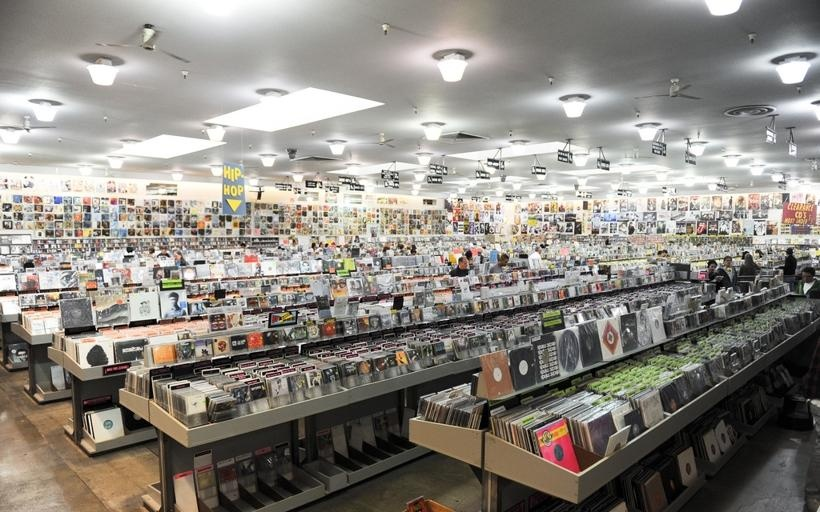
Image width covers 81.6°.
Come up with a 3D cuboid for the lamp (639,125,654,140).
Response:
[{"bbox_3d":[5.097,-2.652,10.163,0.331,0.213,0.314,-6,12,-22],"label":"lamp"}]

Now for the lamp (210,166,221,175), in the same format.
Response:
[{"bbox_3d":[-6.627,-2.920,16.329,0.411,0.251,0.413,3,3,44],"label":"lamp"}]

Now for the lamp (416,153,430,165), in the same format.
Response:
[{"bbox_3d":[0.399,-2.752,13.528,0.358,0.210,0.336,-4,10,-14],"label":"lamp"}]

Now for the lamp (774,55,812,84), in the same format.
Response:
[{"bbox_3d":[5.538,-2.627,6.878,0.397,0.248,0.406,0,0,18],"label":"lamp"}]

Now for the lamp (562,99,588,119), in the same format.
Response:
[{"bbox_3d":[2.983,-2.646,8.585,0.438,0.333,0.483,0,5,13],"label":"lamp"}]

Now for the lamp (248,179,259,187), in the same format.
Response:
[{"bbox_3d":[-6.483,-3.027,19.706,0.467,0.326,0.452,-3,6,-22],"label":"lamp"}]

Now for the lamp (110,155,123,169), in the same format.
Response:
[{"bbox_3d":[-9.168,-2.906,14.866,0.438,0.273,0.419,1,4,-28],"label":"lamp"}]

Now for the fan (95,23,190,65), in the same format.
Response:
[{"bbox_3d":[-3.562,-2.899,6.444,0.608,0.183,0.610,4,7,-8],"label":"fan"}]

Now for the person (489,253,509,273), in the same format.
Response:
[{"bbox_3d":[2.115,0.180,11.243,0.405,0.569,1.369,-2,7,10],"label":"person"}]

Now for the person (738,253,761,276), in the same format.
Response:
[{"bbox_3d":[8.594,0.205,12.017,0.405,0.544,0.917,2,9,35],"label":"person"}]

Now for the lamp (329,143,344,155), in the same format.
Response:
[{"bbox_3d":[-1.899,-2.785,12.303,0.420,0.177,0.364,-1,6,-5],"label":"lamp"}]

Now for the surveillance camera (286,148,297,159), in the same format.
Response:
[{"bbox_3d":[-3.370,-2.901,13.577,0.277,0.270,0.775,-4,7,-12],"label":"surveillance camera"}]

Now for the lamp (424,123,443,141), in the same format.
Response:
[{"bbox_3d":[0.536,-2.703,10.326,0.373,0.231,0.355,-6,13,-24],"label":"lamp"}]

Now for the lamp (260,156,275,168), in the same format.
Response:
[{"bbox_3d":[-4.184,-2.797,14.048,0.447,0.324,0.494,-2,8,-11],"label":"lamp"}]

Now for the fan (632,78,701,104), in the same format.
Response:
[{"bbox_3d":[4.520,-2.806,8.162,0.631,0.178,0.581,0,4,25],"label":"fan"}]

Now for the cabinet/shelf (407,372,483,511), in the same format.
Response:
[{"bbox_3d":[0.429,1.700,4.428,0.714,1.377,0.406,1,9,30],"label":"cabinet/shelf"}]

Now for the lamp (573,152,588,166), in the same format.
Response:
[{"bbox_3d":[4.861,-2.663,13.143,0.498,0.371,0.464,-1,9,2],"label":"lamp"}]

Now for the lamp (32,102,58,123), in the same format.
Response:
[{"bbox_3d":[-6.977,-2.748,9.066,0.380,0.228,0.365,1,2,25],"label":"lamp"}]

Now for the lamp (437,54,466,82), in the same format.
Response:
[{"bbox_3d":[0.615,-2.722,6.934,0.394,0.243,0.368,-1,6,-1],"label":"lamp"}]

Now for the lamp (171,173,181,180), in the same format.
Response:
[{"bbox_3d":[-8.838,-2.983,17.968,0.354,0.191,0.331,2,9,7],"label":"lamp"}]
